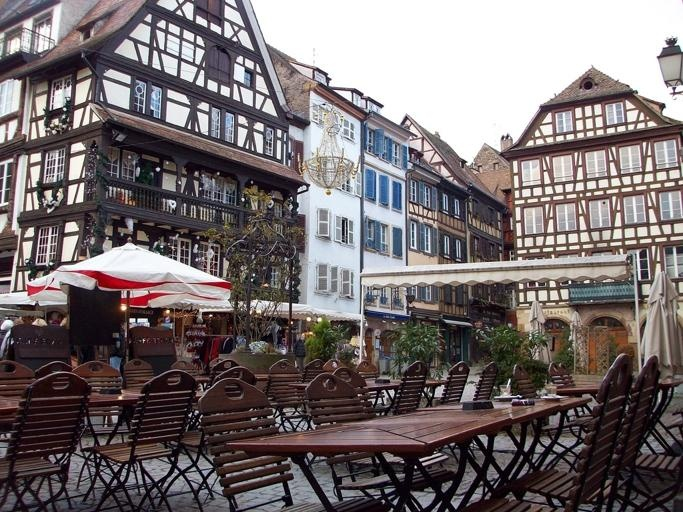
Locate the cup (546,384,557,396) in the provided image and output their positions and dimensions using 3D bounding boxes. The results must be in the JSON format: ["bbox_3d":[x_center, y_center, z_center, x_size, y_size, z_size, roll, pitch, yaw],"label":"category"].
[{"bbox_3d":[2.184,1.389,6.012,0.126,0.124,0.124,2,-9,0],"label":"cup"}]

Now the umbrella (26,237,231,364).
[{"bbox_3d":[-3.664,0.681,10.340,2.963,1.811,3.838,7,-12,-36],"label":"umbrella"}]

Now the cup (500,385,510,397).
[{"bbox_3d":[1.592,1.307,5.637,0.103,0.106,0.101,0,-5,0],"label":"cup"}]
